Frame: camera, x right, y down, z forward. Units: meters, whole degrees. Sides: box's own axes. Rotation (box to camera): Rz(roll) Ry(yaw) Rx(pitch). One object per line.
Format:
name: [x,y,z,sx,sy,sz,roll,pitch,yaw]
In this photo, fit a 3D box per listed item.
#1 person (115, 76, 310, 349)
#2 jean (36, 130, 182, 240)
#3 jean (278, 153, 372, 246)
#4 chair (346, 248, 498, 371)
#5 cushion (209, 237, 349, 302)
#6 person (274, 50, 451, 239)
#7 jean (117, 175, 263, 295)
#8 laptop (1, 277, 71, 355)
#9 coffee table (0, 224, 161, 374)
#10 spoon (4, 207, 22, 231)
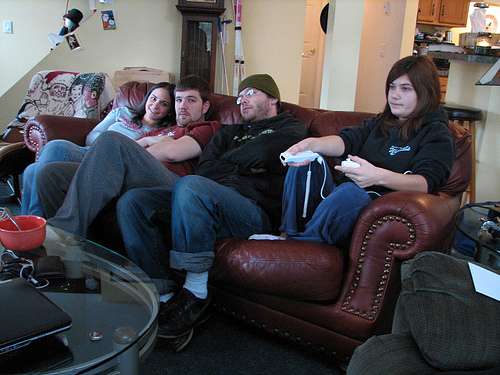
person: [-0.202,0.005,2.021,0.696,1.433,0.915,-5,-16,44]
jean: [-0.705,-0.037,1.939,0.618,0.365,0.534,-21,9,-31]
jean: [0.300,0.111,1.759,0.412,0.370,0.280,19,-1,28]
chair: [0.478,0.367,1.092,0.350,0.353,0.169,-25,-5,-34]
cushion: [0.112,0.342,1.587,0.493,0.185,0.261,6,24,22]
person: [0.557,-0.145,1.910,0.787,1.002,0.634,5,16,-9]
jean: [-0.326,0.219,1.828,0.610,0.580,0.519,5,-18,-27]
laptop: [-0.619,0.328,1.033,0.160,0.078,0.250,-12,19,-39]
coffee table: [-0.507,0.359,1.142,0.416,0.099,0.437,33,32,8]
spoon: [-1.080,0.141,1.693,0.025,0.146,0.022,-8,25,24]
